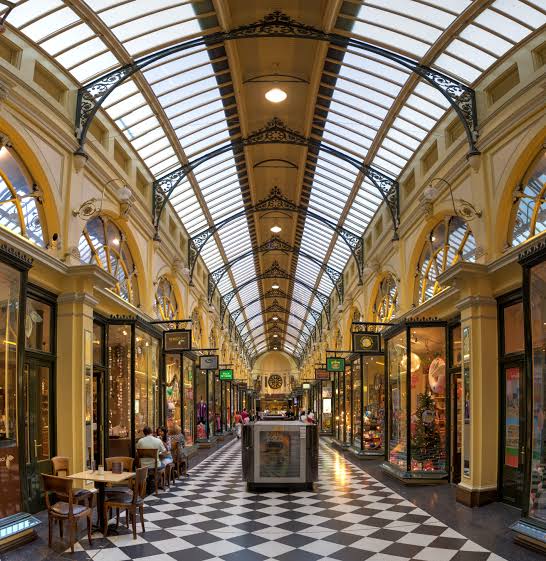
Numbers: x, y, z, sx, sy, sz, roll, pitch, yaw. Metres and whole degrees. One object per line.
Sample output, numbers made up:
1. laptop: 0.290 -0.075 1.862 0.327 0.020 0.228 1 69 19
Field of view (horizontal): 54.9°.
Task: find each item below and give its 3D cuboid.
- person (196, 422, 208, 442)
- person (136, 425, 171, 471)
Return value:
1. person: -3.140 6.750 23.237 0.606 1.065 0.475 -9 -13 26
2. person: -2.622 3.697 11.581 0.673 0.875 1.504 2 -16 -10
